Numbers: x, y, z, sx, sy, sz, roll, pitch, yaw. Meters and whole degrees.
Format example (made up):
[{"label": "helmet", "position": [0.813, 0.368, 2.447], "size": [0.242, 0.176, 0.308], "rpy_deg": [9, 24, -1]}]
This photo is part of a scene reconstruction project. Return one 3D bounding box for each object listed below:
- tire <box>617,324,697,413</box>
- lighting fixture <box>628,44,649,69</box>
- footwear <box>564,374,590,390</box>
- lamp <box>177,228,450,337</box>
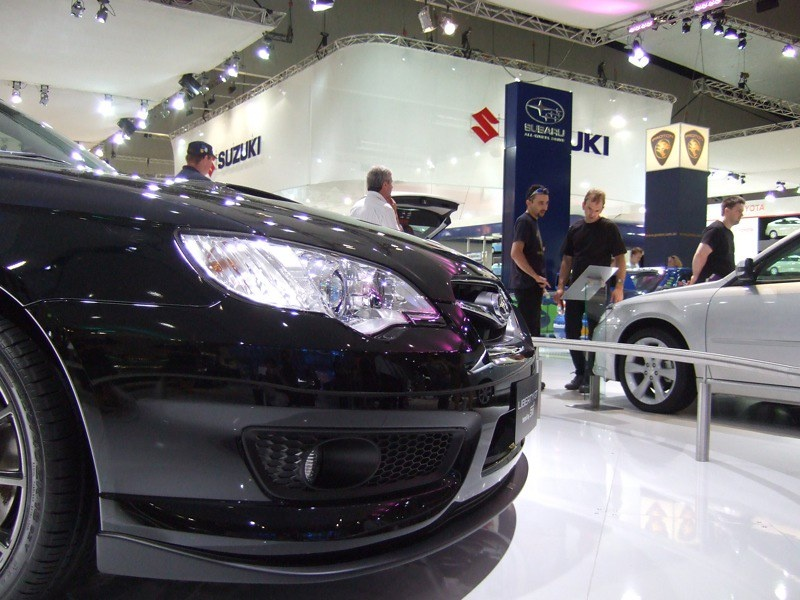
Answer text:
[{"label": "tire", "position": [1.735, 0.457, 3.735], "size": [0.147, 0.480, 0.450], "rpy_deg": [6, 16, -43]}, {"label": "lighting fixture", "position": [4.627, -4.756, 10.848], "size": [0.316, 0.429, 0.701], "rpy_deg": [2, 4, 23]}, {"label": "footwear", "position": [1.452, 0.679, 4.567], "size": [0.065, 0.091, 0.197], "rpy_deg": [1, -1, -22]}, {"label": "lamp", "position": [-0.235, 0.030, 1.486], "size": [0.506, 0.166, 0.313], "rpy_deg": [18, -24, -39]}]
